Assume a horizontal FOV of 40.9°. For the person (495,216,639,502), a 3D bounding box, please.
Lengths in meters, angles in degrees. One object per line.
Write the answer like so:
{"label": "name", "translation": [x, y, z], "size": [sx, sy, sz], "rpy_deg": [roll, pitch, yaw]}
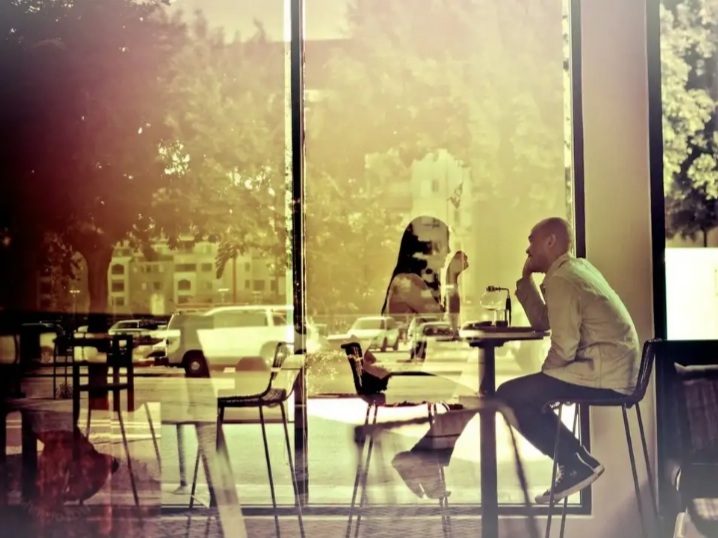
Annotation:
{"label": "person", "translation": [1.354, 0.661, 6.219], "size": [0.854, 1.930, 0.695], "rpy_deg": [2, 9, 23]}

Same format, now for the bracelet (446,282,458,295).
{"label": "bracelet", "translation": [0.663, 0.142, 6.962], "size": [0.088, 0.058, 0.186], "rpy_deg": [0, 9, 8]}
